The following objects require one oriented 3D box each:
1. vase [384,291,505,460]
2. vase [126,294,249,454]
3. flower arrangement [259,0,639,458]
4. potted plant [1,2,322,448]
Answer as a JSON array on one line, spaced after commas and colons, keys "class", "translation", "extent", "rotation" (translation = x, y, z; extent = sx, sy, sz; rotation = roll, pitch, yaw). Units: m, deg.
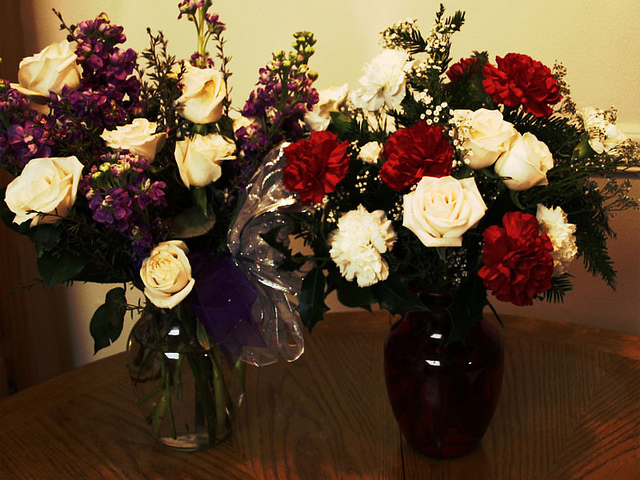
[{"class": "vase", "translation": [0.203, 0.215, 0.944], "extent": [0.177, 0.282, 0.195], "rotation": [-5, 12, -9]}, {"class": "vase", "translation": [-0.232, 0.185, 0.960], "extent": [0.170, 0.317, 0.171], "rotation": [0, 10, 2]}, {"class": "flower arrangement", "translation": [0.205, -0.008, 0.918], "extent": [0.556, 0.689, 0.376], "rotation": [8, 17, 7]}, {"class": "potted plant", "translation": [-0.225, -0.005, 0.886], "extent": [0.472, 0.706, 0.230], "rotation": [-4, 18, -29]}]
